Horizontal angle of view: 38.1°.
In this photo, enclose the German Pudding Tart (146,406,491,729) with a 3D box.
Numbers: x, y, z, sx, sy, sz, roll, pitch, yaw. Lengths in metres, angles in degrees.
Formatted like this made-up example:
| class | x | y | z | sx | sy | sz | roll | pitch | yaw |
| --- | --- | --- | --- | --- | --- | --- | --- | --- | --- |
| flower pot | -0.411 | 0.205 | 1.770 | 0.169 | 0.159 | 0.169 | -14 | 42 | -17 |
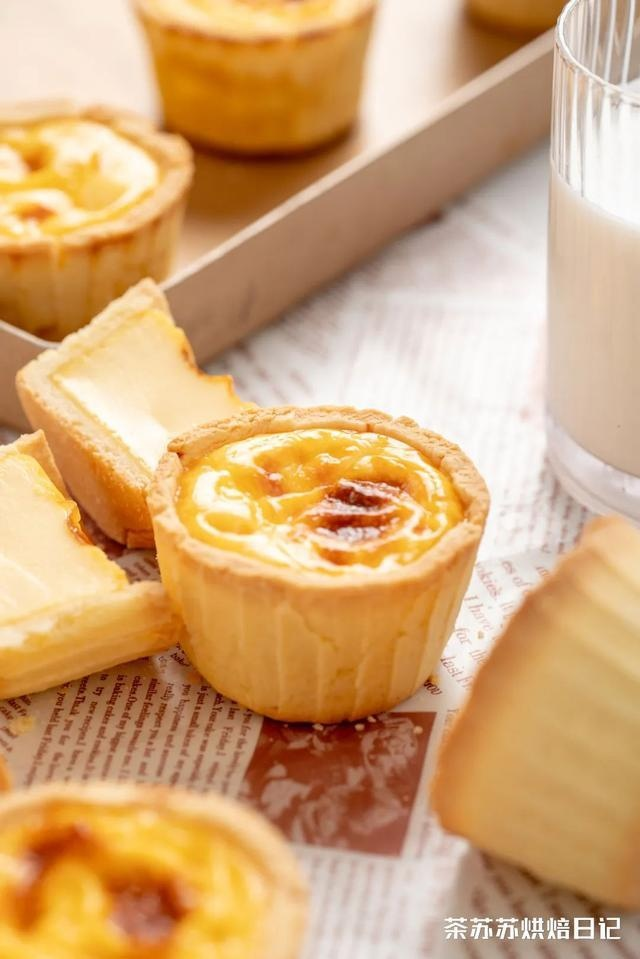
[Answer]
| class | x | y | z | sx | sy | sz | roll | pitch | yaw |
| --- | --- | --- | --- | --- | --- | --- | --- | --- | --- |
| German Pudding Tart | 0.004 | 0.046 | 0.531 | 0.192 | 0.109 | 0.178 | 7 | 34 | 7 |
